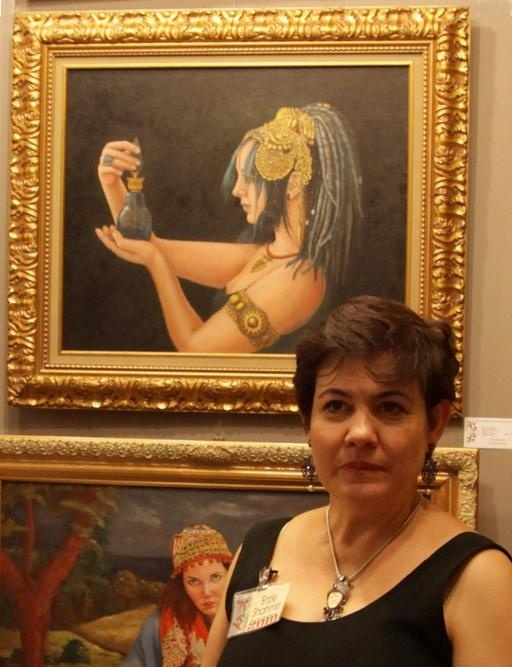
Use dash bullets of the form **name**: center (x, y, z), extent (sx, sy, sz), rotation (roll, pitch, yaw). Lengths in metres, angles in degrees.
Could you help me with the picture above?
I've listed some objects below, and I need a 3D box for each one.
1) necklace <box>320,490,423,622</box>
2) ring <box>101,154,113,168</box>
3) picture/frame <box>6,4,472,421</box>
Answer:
- **necklace**: center (0.214, 0.418, 1.595), extent (0.109, 0.337, 0.037), rotation (11, -46, 24)
- **ring**: center (-0.487, -0.571, 2.710), extent (0.033, 0.035, 0.009), rotation (-6, -1, 8)
- **picture/frame**: center (-0.004, -0.372, 2.533), extent (1.443, 1.135, 0.063), rotation (1, -1, 6)
